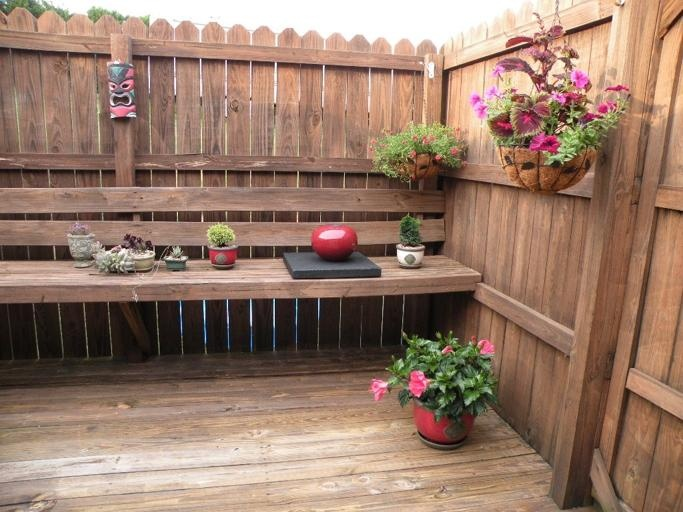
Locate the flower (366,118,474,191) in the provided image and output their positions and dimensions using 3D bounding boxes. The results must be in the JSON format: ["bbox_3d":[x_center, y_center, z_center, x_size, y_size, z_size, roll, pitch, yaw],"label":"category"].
[{"bbox_3d":[0.840,-0.772,3.526,0.768,0.386,0.620,17,16,21],"label":"flower"}]

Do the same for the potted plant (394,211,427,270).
[{"bbox_3d":[0.506,-0.109,3.454,0.185,0.385,0.201,-2,14,9],"label":"potted plant"}]

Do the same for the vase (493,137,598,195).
[{"bbox_3d":[0.934,-0.388,2.171,0.319,0.128,0.298,1,4,0],"label":"vase"}]

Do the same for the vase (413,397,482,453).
[{"bbox_3d":[0.662,1.024,2.883,0.435,0.268,0.415,14,-29,-13],"label":"vase"}]

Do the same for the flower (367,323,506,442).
[{"bbox_3d":[0.622,0.867,2.880,0.817,0.535,0.712,-5,6,8],"label":"flower"}]

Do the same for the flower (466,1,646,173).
[{"bbox_3d":[1.009,-0.789,2.214,0.444,0.475,0.431,7,13,10],"label":"flower"}]

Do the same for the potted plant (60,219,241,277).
[{"bbox_3d":[-1.337,-0.075,3.354,1.143,0.385,0.429,-6,13,-12],"label":"potted plant"}]
